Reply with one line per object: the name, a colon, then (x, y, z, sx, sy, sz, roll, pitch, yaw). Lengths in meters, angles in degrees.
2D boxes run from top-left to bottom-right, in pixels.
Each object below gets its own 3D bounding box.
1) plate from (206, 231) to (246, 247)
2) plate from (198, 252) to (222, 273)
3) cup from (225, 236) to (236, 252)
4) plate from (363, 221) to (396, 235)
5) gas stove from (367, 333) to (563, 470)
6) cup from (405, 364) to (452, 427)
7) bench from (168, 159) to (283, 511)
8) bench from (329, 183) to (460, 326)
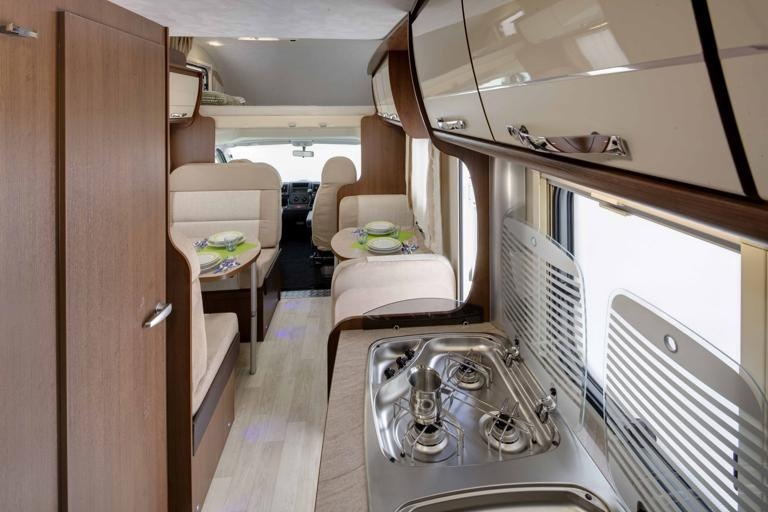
plate: (-1.069, -0.112, 3.475, 0.156, 0.037, 0.159, 4, 14, 20)
plate: (-1.023, 0.028, 3.015, 0.151, 0.030, 0.153, 19, 28, 31)
cup: (-0.980, -0.088, 3.320, 0.066, 0.076, 0.070, 0, -2, 0)
plate: (-0.036, -0.195, 3.860, 0.144, 0.034, 0.148, -2, 28, -4)
gas stove: (0.234, 0.435, 1.692, 0.578, 0.209, 0.567, -6, 9, -4)
cup: (0.120, 0.429, 1.596, 0.098, 0.148, 0.143, -8, 19, -21)
bench: (-0.893, 0.422, 2.877, 0.428, 0.650, 1.660, -1, 25, -8)
bench: (-0.031, -0.103, 3.343, 0.670, 0.513, 2.675, -5, 9, -2)
